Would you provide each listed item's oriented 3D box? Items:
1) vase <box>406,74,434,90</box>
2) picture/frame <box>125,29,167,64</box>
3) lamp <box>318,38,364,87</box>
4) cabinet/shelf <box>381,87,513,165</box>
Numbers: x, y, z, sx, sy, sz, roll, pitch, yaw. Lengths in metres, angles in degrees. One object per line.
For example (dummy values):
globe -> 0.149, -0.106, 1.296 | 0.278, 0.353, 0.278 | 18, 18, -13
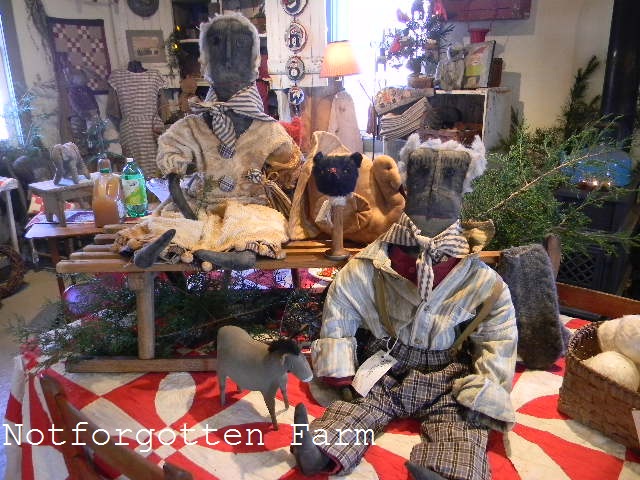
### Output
vase -> 0.887, -1.387, 3.819 | 0.171, 0.067, 0.171 | -15, 26, -38
picture/frame -> -2.094, -2.363, 5.188 | 0.529, 0.461, 0.052 | 0, 21, 0
lamp -> 0.194, -1.670, 4.072 | 0.373, 0.343, 0.364 | -4, 16, -6
cabinet/shelf -> 1.194, -1.101, 3.810 | 0.958, 0.567, 0.658 | 9, 17, 27
